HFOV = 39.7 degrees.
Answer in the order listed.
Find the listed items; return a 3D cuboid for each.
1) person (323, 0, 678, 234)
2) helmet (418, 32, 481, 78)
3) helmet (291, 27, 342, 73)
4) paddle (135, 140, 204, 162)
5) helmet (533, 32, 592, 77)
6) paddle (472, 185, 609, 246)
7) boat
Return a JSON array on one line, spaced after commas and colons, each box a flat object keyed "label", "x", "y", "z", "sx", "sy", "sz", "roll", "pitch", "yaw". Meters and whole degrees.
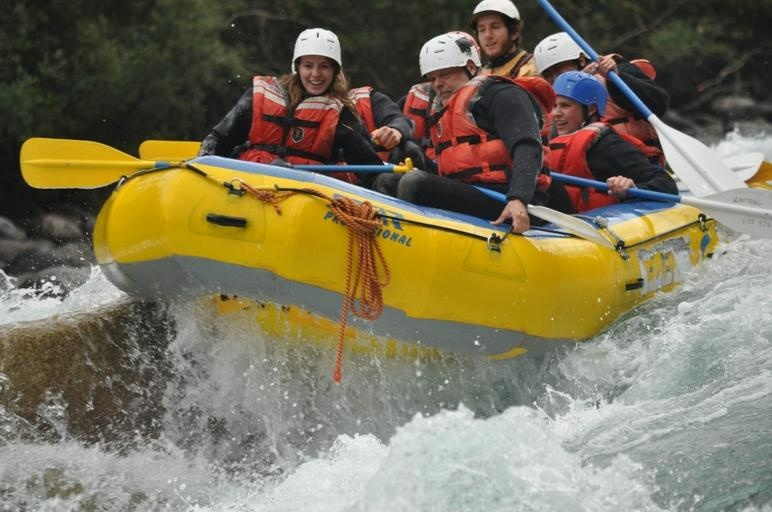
[{"label": "person", "x": 1.333, "y": -0.899, "z": 7.588, "sx": 2.293, "sy": 0.752, "sz": 1.580, "roll": 2, "pitch": 12, "yaw": -46}, {"label": "helmet", "x": 0.467, "y": -1.414, "z": 7.501, "sx": 0.297, "sy": 0.213, "sz": 0.380, "roll": 1, "pitch": 12, "yaw": 43}, {"label": "helmet", "x": -0.494, "y": -1.489, "z": 7.684, "sx": 0.291, "sy": 0.270, "sz": 0.359, "roll": 2, "pitch": 15, "yaw": 1}, {"label": "paddle", "x": -1.526, "y": -0.796, "z": 7.657, "sx": 0.237, "sy": 0.139, "sz": 0.417, "roll": 10, "pitch": 12, "yaw": 37}, {"label": "helmet", "x": 1.451, "y": -1.684, "z": 8.828, "sx": 0.429, "sy": 0.311, "sz": 0.297, "roll": 1, "pitch": 58, "yaw": -41}, {"label": "paddle", "x": 1.016, "y": -0.264, "z": 7.220, "sx": 0.961, "sy": 0.129, "sz": 0.043, "roll": 23, "pitch": 27, "yaw": -12}, {"label": "boat", "x": 0.253, "y": 0.128, "z": 6.999, "sx": 2.813, "sy": 0.536, "sz": 1.599, "roll": 13, "pitch": -9, "yaw": -25}]
